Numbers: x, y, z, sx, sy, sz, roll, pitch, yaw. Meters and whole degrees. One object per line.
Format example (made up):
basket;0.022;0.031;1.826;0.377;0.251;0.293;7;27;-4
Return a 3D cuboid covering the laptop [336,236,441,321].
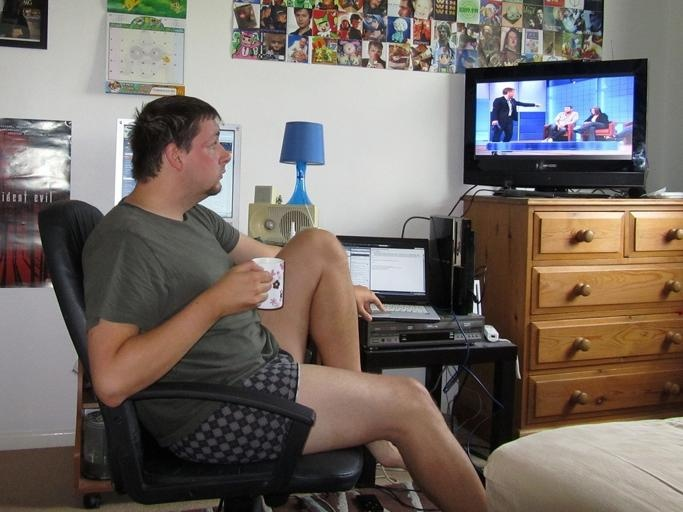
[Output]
laptop;0.184;0.091;2.603;0.456;0.324;0.391;3;6;4

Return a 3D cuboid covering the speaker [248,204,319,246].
speaker;-0.244;-0.140;2.477;0.248;0.162;0.149;6;13;17

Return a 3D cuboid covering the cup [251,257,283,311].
cup;-0.236;0.077;1.698;0.147;0.131;0.087;3;1;44

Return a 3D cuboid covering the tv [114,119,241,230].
tv;-0.781;-0.377;2.795;0.623;0.689;0.051;0;-34;-15

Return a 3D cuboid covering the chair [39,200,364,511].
chair;-0.396;0.237;2.020;0.883;1.096;0.754;-3;5;-8

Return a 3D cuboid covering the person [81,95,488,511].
person;-0.073;0.040;2.221;1.422;1.530;0.827;-4;11;-14

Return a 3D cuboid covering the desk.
desk;0.440;0.635;2.849;0.627;0.674;0.637;0;1;-10
